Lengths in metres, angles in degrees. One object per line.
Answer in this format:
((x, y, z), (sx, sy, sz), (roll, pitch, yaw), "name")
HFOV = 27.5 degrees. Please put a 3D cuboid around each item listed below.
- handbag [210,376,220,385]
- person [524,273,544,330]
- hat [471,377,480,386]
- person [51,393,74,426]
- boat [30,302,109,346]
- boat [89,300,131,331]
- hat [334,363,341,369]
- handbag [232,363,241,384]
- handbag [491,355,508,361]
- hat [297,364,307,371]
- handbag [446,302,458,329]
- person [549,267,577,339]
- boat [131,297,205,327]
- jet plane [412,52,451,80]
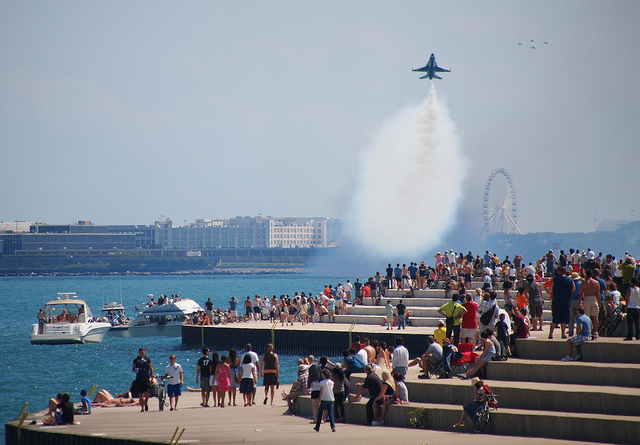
((-5.385, 7.894, 66.978), (0.574, 0.654, 0.334), (0, -3, 11), "handbag")
((10.987, 4.011, 67.729), (0.901, 2.935, 0.938), (-4, -1, 1), "person")
((7.250, 7.369, 61.529), (0.304, 0.379, 0.449), (-1, -6, 3), "hat")
((-12.642, 9.146, 64.755), (0.925, 1.503, 0.556), (1, -6, -11), "person")
((-18.138, 7.468, 94.783), (3.518, 2.462, 5.531), (-1, 2, 6), "boat")
((-15.792, 7.002, 98.570), (1.699, 2.051, 3.968), (-1, 3, -17), "boat")
((0.827, 6.828, 63.139), (0.268, 0.240, 0.541), (-3, -6, 19), "hat")
((-4.228, 7.632, 67.024), (0.334, 0.890, 0.616), (-12, -1, 22), "handbag")
((8.702, 6.517, 64.005), (0.820, 0.368, 0.299), (-4, 5, 3), "handbag")
((-0.890, 7.123, 65.295), (0.406, 0.308, 0.293), (-1, -6, -1), "hat")
((6.492, 4.587, 65.330), (0.652, 0.921, 0.934), (-29, -37, 36), "handbag")
((11.973, 3.909, 64.710), (1.153, 3.439, 1.163), (3, -6, -29), "person")
((-11.243, 6.532, 96.130), (3.982, 1.656, 2.417), (-5, 4, 14), "boat")
((9.629, -13.666, 114.215), (3.386, 1.088, 3.669), (1, -28, 1), "jet plane")
